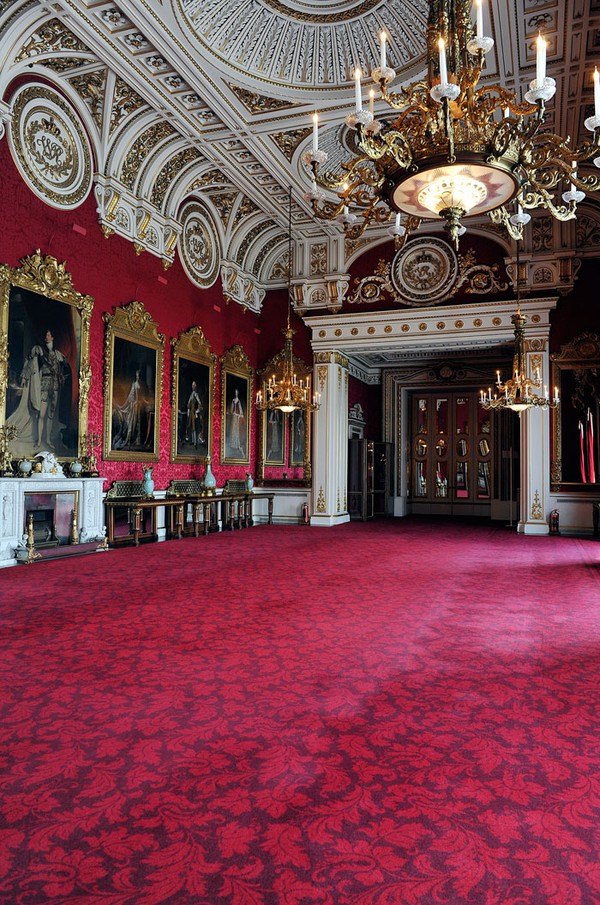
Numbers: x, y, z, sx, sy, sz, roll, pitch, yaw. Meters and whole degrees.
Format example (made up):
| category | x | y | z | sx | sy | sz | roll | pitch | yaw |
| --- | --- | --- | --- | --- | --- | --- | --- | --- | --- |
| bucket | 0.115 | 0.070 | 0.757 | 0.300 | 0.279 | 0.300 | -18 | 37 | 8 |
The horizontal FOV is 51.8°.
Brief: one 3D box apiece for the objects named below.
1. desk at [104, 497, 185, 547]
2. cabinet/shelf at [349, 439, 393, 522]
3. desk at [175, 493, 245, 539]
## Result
| category | x | y | z | sx | sy | sz | roll | pitch | yaw |
| --- | --- | --- | --- | --- | --- | --- | --- | --- | --- |
| desk | -2.219 | 1.006 | 9.091 | 0.630 | 0.691 | 1.814 | 0 | -2 | 9 |
| cabinet/shelf | 1.708 | 0.712 | 15.208 | 0.543 | 1.877 | 1.833 | 0 | -1 | 14 |
| desk | -1.502 | 1.097 | 11.031 | 0.800 | 0.670 | 3.039 | 0 | -2 | 9 |
